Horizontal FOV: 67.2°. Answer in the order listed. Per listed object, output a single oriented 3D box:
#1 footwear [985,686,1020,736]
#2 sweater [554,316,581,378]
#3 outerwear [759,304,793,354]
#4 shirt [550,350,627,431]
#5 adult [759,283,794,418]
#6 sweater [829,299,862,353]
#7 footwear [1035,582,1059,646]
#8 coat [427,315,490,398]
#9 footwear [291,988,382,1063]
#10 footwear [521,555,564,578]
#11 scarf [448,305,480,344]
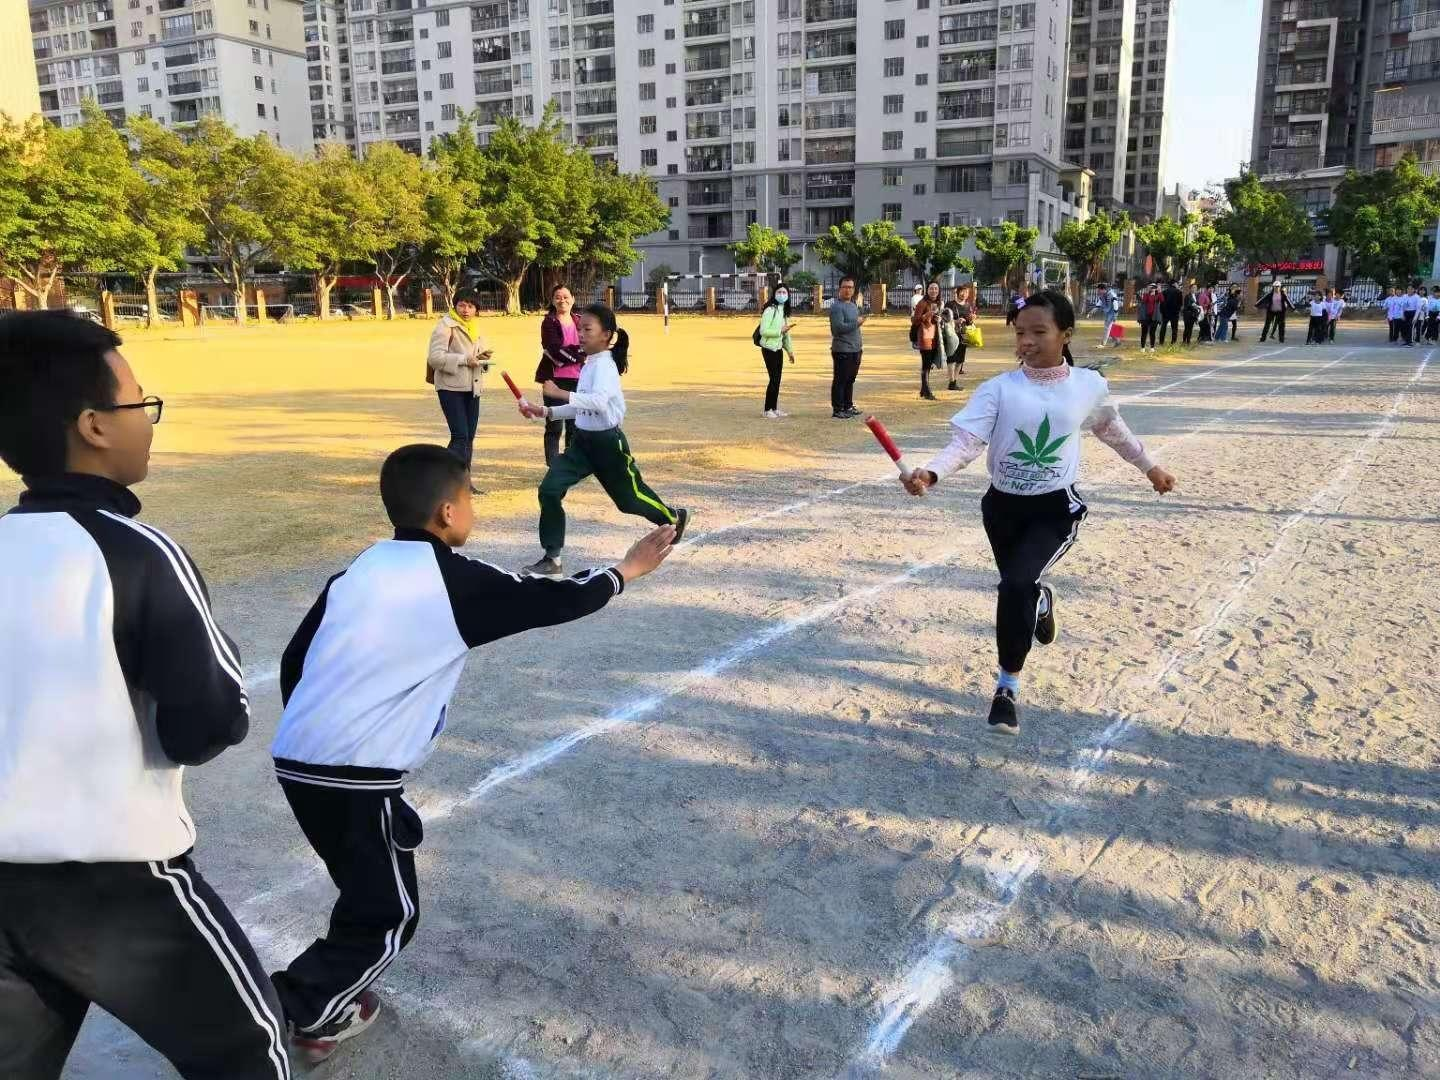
[{"bbox_3d":[1.351,0.821,5.203,0.139,0.198,0.175,2,13,16],"label":"footwear"},{"bbox_3d":[-1.427,-1.789,10.201,0.212,0.676,0.475,0,2,-11],"label":"sweater"},{"bbox_3d":[0.732,-3.049,15.760,0.541,0.884,0.706,2,10,17],"label":"outerwear"},{"bbox_3d":[-0.919,-0.991,7.381,0.537,0.561,0.770,0,-1,-20],"label":"shirt"},{"bbox_3d":[0.756,-2.675,15.677,0.586,1.857,0.567,-1,4,-10],"label":"adult"},{"bbox_3d":[1.716,-2.959,15.155,0.387,0.760,0.530,-1,13,4],"label":"sweater"},{"bbox_3d":[1.711,0.415,5.726,0.123,0.370,0.139,7,26,31],"label":"footwear"},{"bbox_3d":[-2.472,-1.749,10.344,0.555,0.753,0.565,3,7,-16],"label":"coat"},{"bbox_3d":[-1.174,1.525,3.374,0.091,0.126,0.281,13,36,36],"label":"footwear"},{"bbox_3d":[-1.195,0.191,7.273,0.209,0.101,0.127,3,2,14],"label":"footwear"},{"bbox_3d":[-2.460,-2.096,10.474,0.288,0.187,0.394,-2,18,9],"label":"scarf"}]
